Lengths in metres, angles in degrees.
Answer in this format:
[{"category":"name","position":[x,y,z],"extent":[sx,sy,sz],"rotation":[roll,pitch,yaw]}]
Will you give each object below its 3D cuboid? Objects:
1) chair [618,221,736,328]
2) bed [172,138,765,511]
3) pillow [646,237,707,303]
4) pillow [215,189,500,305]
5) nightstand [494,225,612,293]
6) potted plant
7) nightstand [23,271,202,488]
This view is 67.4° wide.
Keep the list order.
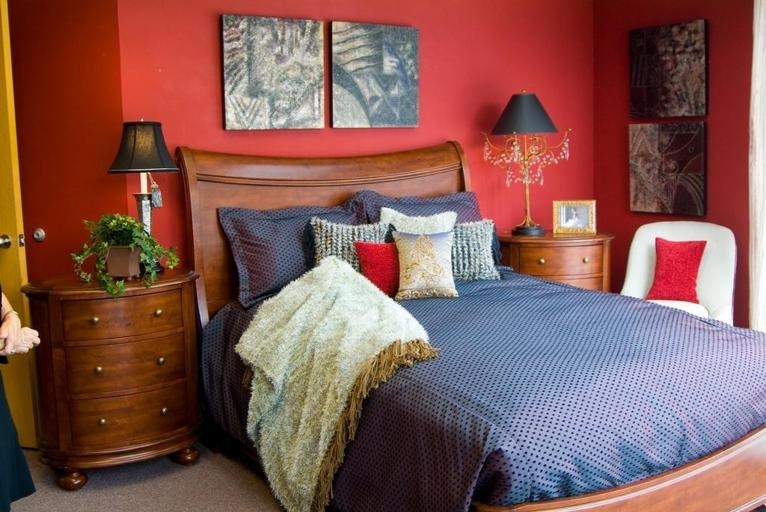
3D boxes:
[{"category":"chair","position":[2.242,0.042,4.386],"extent":[0.895,0.797,0.785],"rotation":[2,1,31]},{"category":"bed","position":[0.349,0.200,3.292],"extent":[1.895,1.608,2.875],"rotation":[-7,8,-41]},{"category":"pillow","position":[2.128,0.110,4.147],"extent":[0.135,0.424,0.441],"rotation":[11,-4,-43]},{"category":"pillow","position":[-0.123,-0.100,3.935],"extent":[1.934,0.646,0.730],"rotation":[-3,12,-9]},{"category":"nightstand","position":[1.331,0.007,4.574],"extent":[0.604,0.778,0.513],"rotation":[-3,5,-19]},{"category":"potted plant","position":[-1.570,-0.054,3.373],"extent":[0.623,0.456,0.502],"rotation":[2,6,-10]},{"category":"nightstand","position":[-1.530,0.697,3.237],"extent":[1.150,1.351,0.748],"rotation":[-2,3,-35]}]
